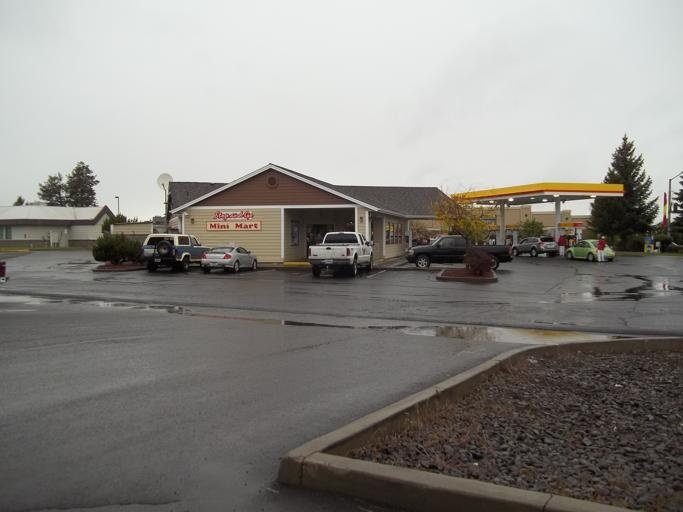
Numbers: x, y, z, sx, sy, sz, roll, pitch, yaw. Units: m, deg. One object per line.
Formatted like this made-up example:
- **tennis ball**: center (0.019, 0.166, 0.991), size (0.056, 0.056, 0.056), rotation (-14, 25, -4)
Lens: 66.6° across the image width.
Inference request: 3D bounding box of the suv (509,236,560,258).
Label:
- **suv**: center (17.217, -0.824, 46.099), size (1.931, 1.730, 3.718), rotation (-2, 2, -25)

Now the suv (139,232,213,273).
- **suv**: center (-10.079, -0.213, 31.216), size (2.124, 2.227, 3.202), rotation (-1, 2, 22)

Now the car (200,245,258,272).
- **car**: center (-6.751, 0.143, 31.151), size (3.764, 1.530, 3.476), rotation (-3, 2, -39)

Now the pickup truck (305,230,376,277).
- **pickup truck**: center (0.020, -0.137, 28.159), size (2.196, 2.323, 3.853), rotation (-1, 2, 22)
